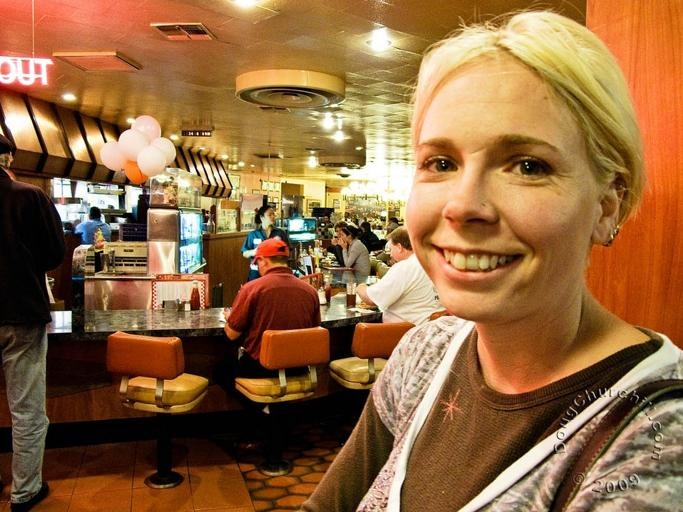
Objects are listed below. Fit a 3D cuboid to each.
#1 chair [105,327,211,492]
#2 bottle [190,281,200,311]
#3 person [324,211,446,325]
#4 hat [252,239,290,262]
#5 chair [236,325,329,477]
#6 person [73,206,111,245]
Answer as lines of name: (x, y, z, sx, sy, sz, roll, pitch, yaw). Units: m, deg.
chair: (-1.149, 0.990, 3.507, 0.599, 0.908, 0.610, 0, -7, 6)
bottle: (-1.248, 0.335, 4.604, 0.096, 0.225, 0.175, 2, 5, -15)
person: (0.557, 0.154, 4.872, 0.888, 1.158, 0.701, 4, 6, 26)
hat: (-0.509, -0.035, 4.083, 0.237, 0.150, 0.357, 7, 3, 2)
chair: (-0.425, 0.986, 3.696, 0.564, 0.914, 0.561, 5, -13, -36)
person: (-3.975, -0.478, 8.603, 0.488, 0.607, 0.983, 1, 5, -26)
